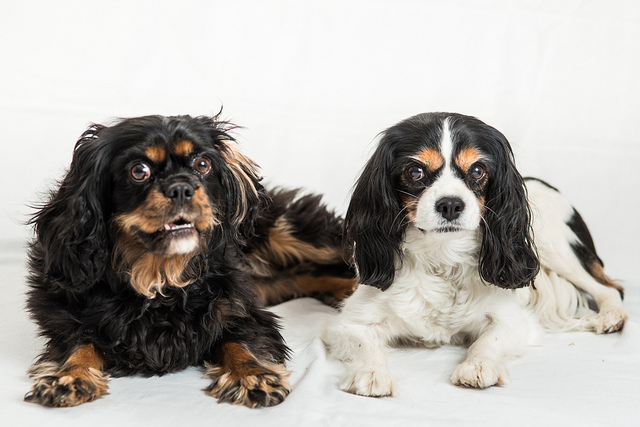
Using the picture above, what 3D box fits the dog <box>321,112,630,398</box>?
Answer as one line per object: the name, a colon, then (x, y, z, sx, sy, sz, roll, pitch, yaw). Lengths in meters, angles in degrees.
dog: (1.186, 0.201, 5.193, 1.851, 1.836, 3.137, 3, 13, 40)
